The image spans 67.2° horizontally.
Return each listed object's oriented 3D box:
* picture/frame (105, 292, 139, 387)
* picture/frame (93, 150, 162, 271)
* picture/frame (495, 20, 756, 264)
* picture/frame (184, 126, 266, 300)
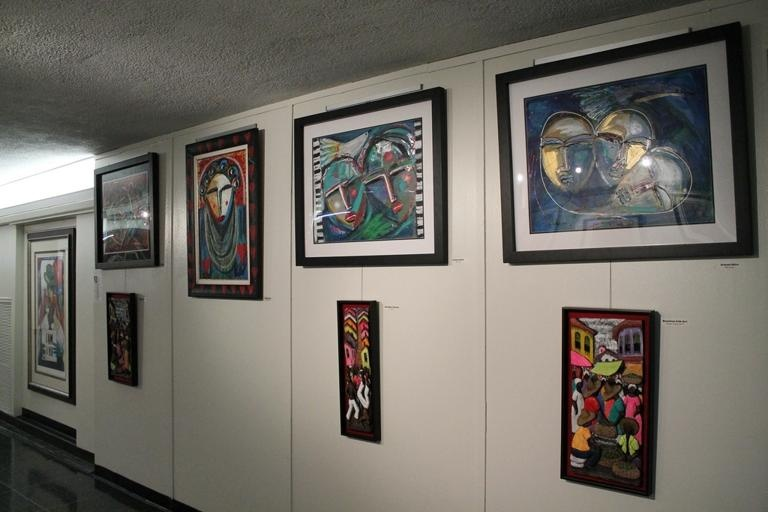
[{"bbox_3d":[-2.402,0.760,5.311,0.453,0.849,0.087,-3,-2,38],"label":"picture/frame"},{"bbox_3d":[-2.393,-0.383,5.331,1.007,1.000,0.084,-2,-2,36],"label":"picture/frame"},{"bbox_3d":[1.468,-0.675,3.379,1.372,1.325,0.053,-2,0,28],"label":"picture/frame"},{"bbox_3d":[-1.286,-0.311,4.634,0.820,1.317,0.131,-3,-2,35],"label":"picture/frame"}]
